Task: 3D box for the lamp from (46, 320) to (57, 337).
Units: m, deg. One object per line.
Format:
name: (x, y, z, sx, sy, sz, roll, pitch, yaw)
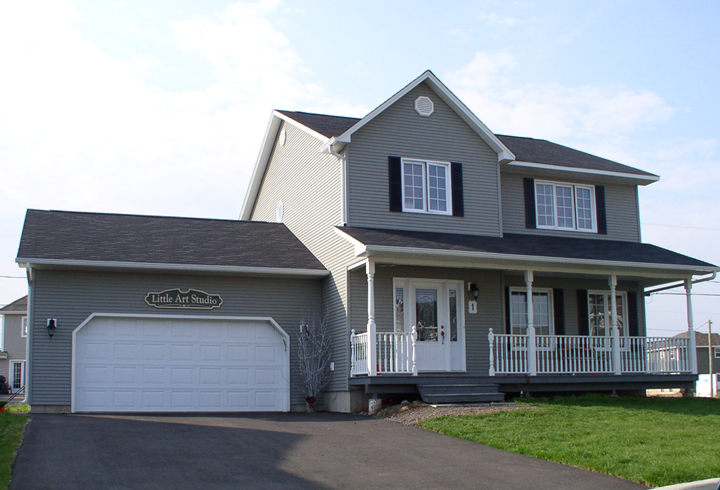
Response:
lamp: (-8.613, 2.307, 19.781, 0.278, 0.340, 0.180, 2, 1, -20)
